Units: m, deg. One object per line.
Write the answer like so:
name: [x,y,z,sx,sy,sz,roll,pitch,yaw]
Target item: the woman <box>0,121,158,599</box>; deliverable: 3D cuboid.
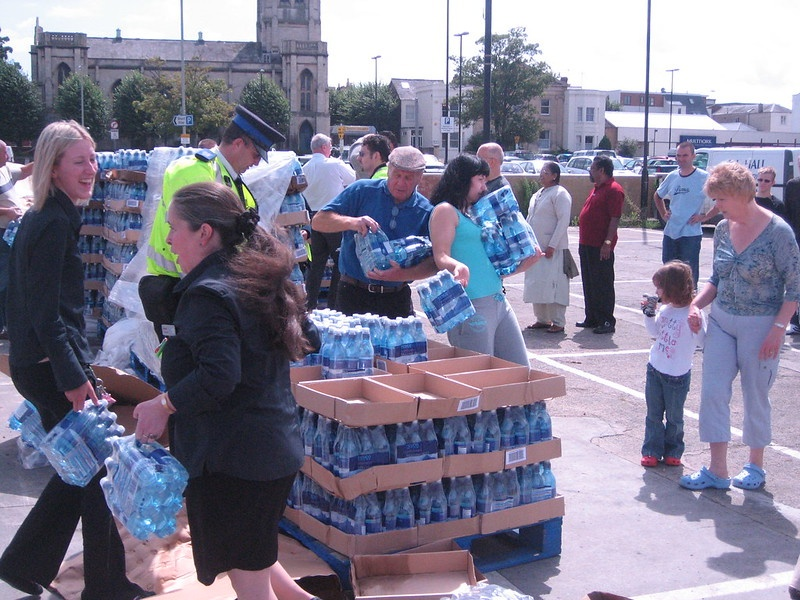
woman: [-2.115,0.417,6.052,0.813,2.914,0.870,-5,14,-23]
